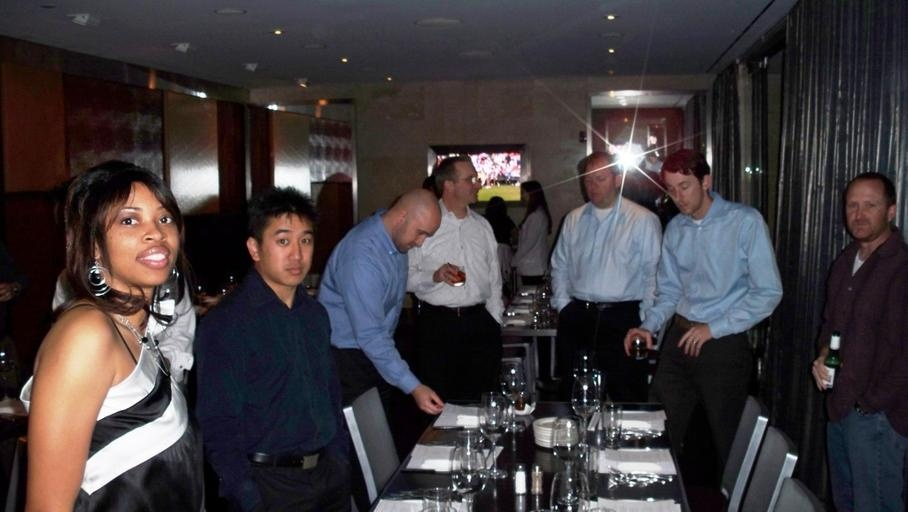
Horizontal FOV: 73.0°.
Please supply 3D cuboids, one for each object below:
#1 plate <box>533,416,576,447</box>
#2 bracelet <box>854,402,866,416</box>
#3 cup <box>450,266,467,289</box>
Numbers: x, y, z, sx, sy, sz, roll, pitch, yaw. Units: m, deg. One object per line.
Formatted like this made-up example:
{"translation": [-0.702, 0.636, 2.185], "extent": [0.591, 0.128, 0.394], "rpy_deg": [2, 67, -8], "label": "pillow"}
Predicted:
{"translation": [0.548, 0.991, 3.360], "extent": [0.234, 0.092, 0.227], "rpy_deg": [0, 4, 5], "label": "plate"}
{"translation": [2.673, 1.009, 4.056], "extent": [0.024, 0.062, 0.049], "rpy_deg": [-31, -35, 14], "label": "bracelet"}
{"translation": [0.041, 0.169, 5.025], "extent": [0.134, 0.108, 0.156], "rpy_deg": [-3, -12, -5], "label": "cup"}
